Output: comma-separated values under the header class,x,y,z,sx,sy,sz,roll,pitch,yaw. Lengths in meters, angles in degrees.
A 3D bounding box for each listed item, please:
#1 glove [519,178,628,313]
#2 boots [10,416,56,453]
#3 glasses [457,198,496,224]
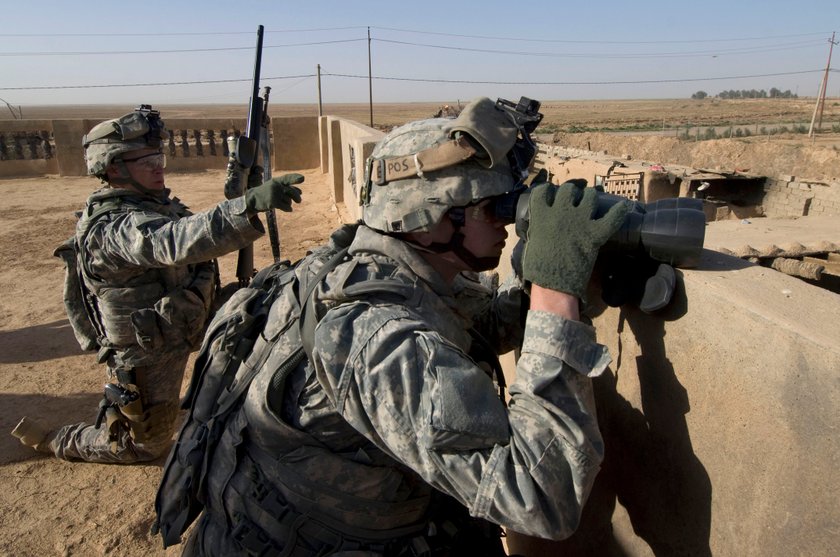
class,x,y,z,sx,sy,sz,roll,pitch,yaw
glove,0.453,-0.113,1.923,0.350,0.416,0.166,10,-5,6
boots,-2.785,1.139,4.362,0.191,0.276,0.153,-19,31,18
glasses,0.206,-0.233,2.146,0.088,0.039,0.110,-2,-1,-41
